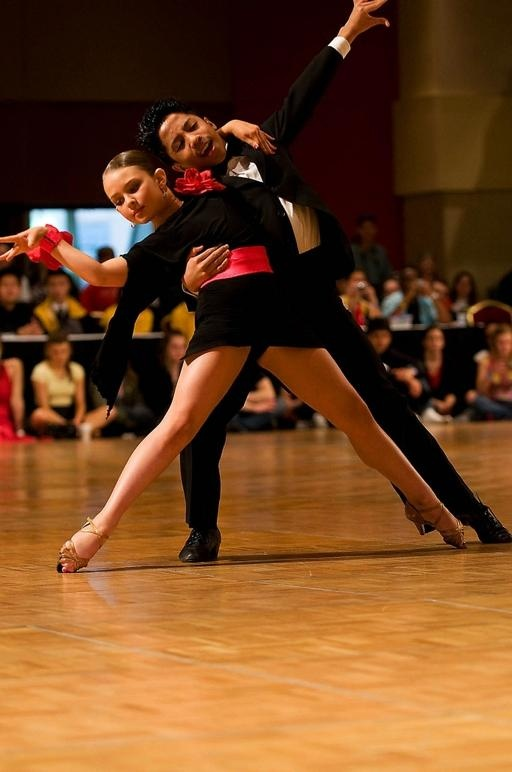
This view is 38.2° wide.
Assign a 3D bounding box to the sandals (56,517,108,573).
[{"bbox_3d":[-0.466,0.428,1.966,0.200,0.083,0.054,-39,-5,19],"label":"sandals"}]

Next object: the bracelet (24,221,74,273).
[{"bbox_3d":[-0.550,-0.371,2.005,0.129,0.110,0.106,-37,-13,5],"label":"bracelet"}]

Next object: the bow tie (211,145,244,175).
[{"bbox_3d":[-0.071,-0.625,2.075,0.104,0.062,0.114,4,53,-2],"label":"bow tie"}]
